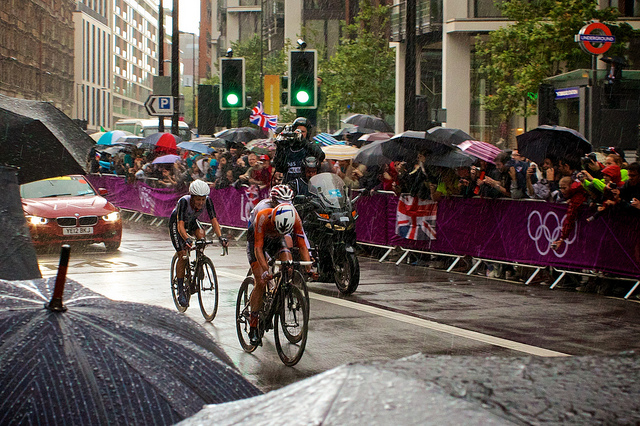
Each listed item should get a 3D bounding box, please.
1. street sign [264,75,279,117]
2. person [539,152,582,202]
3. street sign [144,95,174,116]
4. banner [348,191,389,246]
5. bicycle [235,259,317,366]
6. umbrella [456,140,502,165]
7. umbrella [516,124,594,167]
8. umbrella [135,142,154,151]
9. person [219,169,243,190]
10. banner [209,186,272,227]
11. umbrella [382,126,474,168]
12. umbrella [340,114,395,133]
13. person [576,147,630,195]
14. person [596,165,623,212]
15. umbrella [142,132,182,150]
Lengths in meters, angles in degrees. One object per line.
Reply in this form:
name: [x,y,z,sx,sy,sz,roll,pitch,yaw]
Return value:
street sign: [-1.973,-4.794,25.913,0.630,1.942,0.016,-2,41,-7]
person: [4.519,-0.761,12.003,0.682,0.462,1.124,15,37,44]
street sign: [-5.659,-3.839,22.541,0.928,0.691,0.106,-2,5,-8]
banner: [1.206,0.220,15.027,0.101,1.210,1.175,5,-6,-36]
bicycle: [-0.591,1.063,7.357,0.584,0.947,1.576,6,-10,-34]
umbrella: [3.287,-1.319,13.116,0.651,0.220,0.657,18,8,21]
umbrella: [4.791,-1.468,12.881,1.573,0.753,1.553,-2,24,5]
umbrella: [-7.366,-2.817,26.798,0.850,0.287,0.869,0,-2,-15]
person: [-2.558,-0.973,18.492,0.440,0.400,1.226,-8,14,-25]
banner: [-2.408,-0.198,18.514,0.054,1.199,3.461,3,-1,19]
umbrella: [2.560,-1.651,13.788,1.836,0.683,1.838,10,16,24]
umbrella: [1.531,-2.930,20.754,1.555,0.846,1.066,-4,-8,0]
person: [5.082,-0.729,11.030,1.093,0.577,0.439,15,20,-35]
person: [4.871,-0.415,10.686,0.280,0.744,0.443,6,3,35]
umbrella: [-5.644,-2.644,22.840,0.851,0.290,0.872,5,2,1]
